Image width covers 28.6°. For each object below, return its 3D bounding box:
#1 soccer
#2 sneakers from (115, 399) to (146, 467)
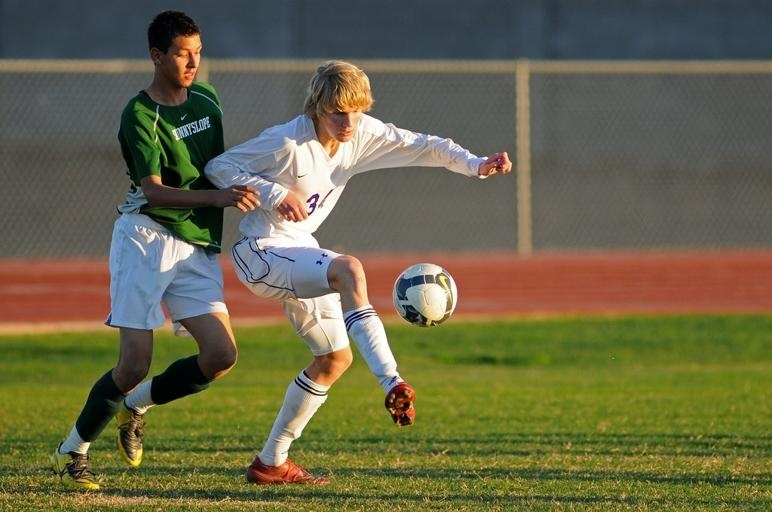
[{"bbox_3d":[0.393,0.481,15.798,0.686,0.693,0.695,-7,-6,10],"label":"soccer"},{"bbox_3d":[-2.676,1.841,15.849,0.268,0.645,0.270,-16,-6,38],"label":"sneakers"}]
